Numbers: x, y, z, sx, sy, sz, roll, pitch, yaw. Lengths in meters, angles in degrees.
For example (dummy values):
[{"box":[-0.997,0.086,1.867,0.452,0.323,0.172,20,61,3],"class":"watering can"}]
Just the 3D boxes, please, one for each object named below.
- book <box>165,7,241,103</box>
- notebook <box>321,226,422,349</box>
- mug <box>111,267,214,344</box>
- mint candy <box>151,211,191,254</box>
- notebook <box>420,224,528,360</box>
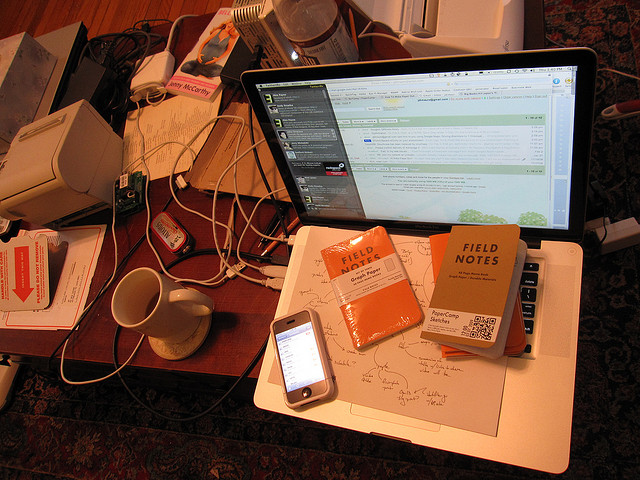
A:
[{"box":[-0.328,-0.548,1.534,0.189,0.037,0.374,16,76,23],"class":"book"},{"box":[0.119,0.105,1.164,0.182,0.061,0.277,-22,77,7],"class":"notebook"},{"box":[-0.354,0.158,1.225,0.225,0.220,0.184,1,67,23],"class":"mug"},{"box":[-0.397,-0.020,1.336,0.147,0.021,0.067,41,85,18],"class":"mint candy"},{"box":[0.319,0.098,1.035,0.202,0.077,0.297,14,85,20],"class":"notebook"}]
